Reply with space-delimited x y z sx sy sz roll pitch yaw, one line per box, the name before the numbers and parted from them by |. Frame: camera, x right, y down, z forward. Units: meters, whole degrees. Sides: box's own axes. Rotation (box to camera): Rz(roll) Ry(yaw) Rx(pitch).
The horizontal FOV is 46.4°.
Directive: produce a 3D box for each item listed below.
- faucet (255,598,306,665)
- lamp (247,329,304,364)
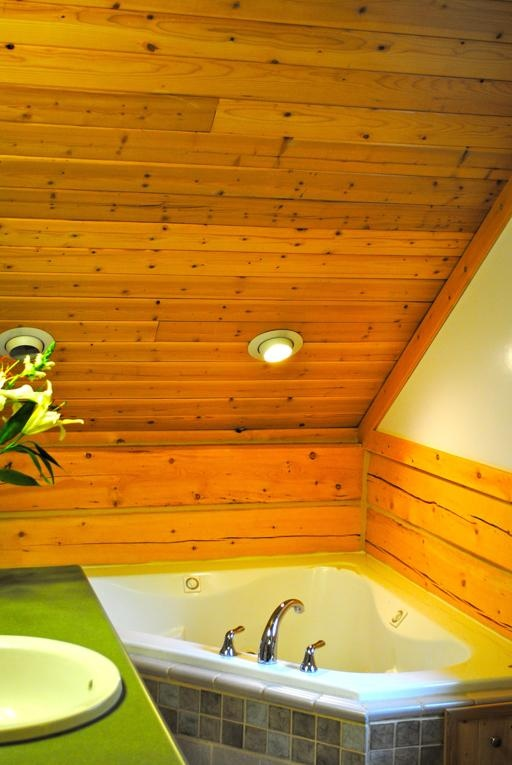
faucet | 0.079 0.744 1.776 0.085 0.191 0.297 0 7 15
lamp | 0.075 -0.145 2.257 0.213 0.112 0.117 -2 6 -3
